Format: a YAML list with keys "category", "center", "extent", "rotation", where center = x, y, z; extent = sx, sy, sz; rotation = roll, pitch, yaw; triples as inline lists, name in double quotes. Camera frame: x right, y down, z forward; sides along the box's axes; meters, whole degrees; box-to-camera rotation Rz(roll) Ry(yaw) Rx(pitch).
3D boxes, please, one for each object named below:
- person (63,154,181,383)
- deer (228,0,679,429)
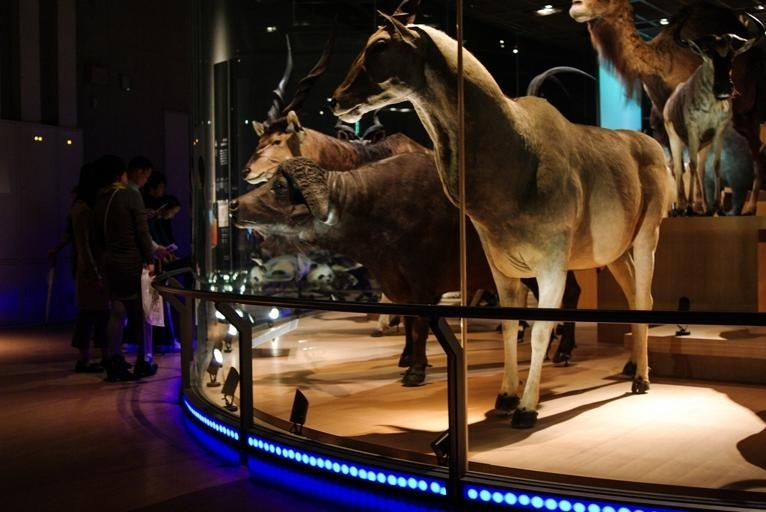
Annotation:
- category: "person"
  center: [-2.429, 0.086, 6.027]
  extent: [0.890, 1.923, 0.474]
  rotation: [3, 6, 42]
- category: "deer"
  center: [0.796, -0.509, 4.038]
  extent: [2.005, 1.756, 0.608]
  rotation: [-2, 5, -22]
